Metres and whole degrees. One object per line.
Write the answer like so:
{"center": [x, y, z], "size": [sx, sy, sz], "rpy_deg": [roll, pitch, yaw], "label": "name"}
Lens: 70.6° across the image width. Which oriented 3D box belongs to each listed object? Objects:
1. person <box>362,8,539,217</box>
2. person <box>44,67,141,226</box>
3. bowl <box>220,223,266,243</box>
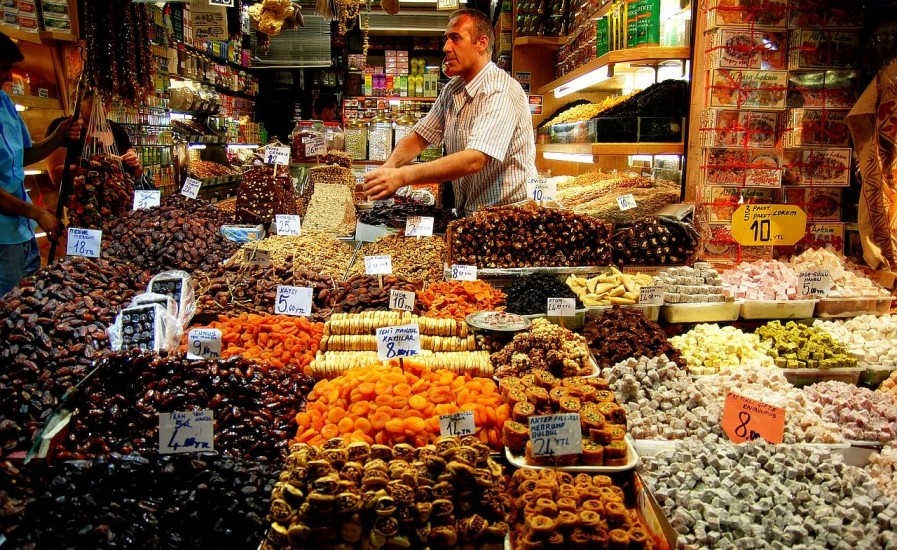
{"center": [0.169, -1.270, 5.103], "size": [1.149, 1.641, 1.482], "rpy_deg": [5, 17, 7], "label": "person"}
{"center": [-2.970, -1.025, 5.326], "size": [0.681, 1.285, 1.209], "rpy_deg": [-7, 19, -30], "label": "person"}
{"center": [-1.752, -0.362, 5.403], "size": [0.356, 0.112, 0.192], "rpy_deg": [-2, 17, -16], "label": "bowl"}
